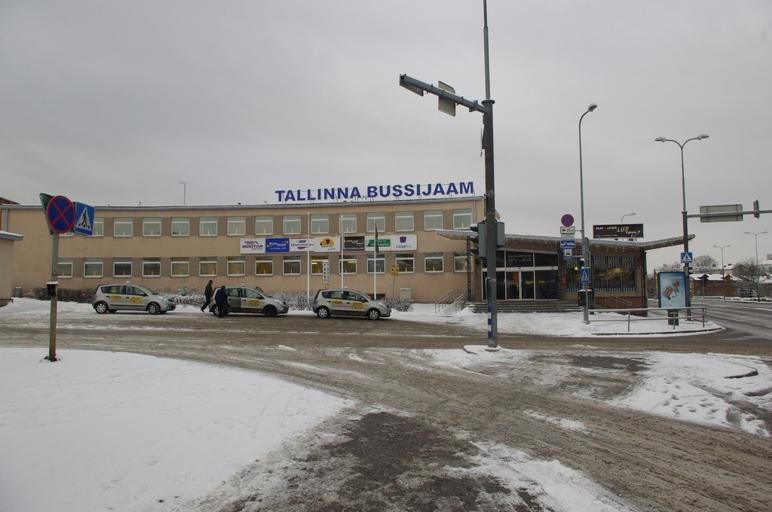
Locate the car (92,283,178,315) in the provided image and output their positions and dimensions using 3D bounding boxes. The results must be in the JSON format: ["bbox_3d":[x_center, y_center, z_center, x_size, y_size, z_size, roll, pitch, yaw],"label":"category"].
[{"bbox_3d":[-12.381,2.071,30.697,2.827,1.428,1.691,-1,-3,-12],"label":"car"}]

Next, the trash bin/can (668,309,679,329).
[{"bbox_3d":[12.634,2.686,27.599,0.363,0.640,0.995,7,13,15],"label":"trash bin/can"}]

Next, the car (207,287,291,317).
[{"bbox_3d":[-6.536,2.252,30.865,2.860,1.449,1.731,-2,-3,-4],"label":"car"}]

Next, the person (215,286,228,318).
[{"bbox_3d":[-7.826,2.166,29.973,0.567,1.291,1.155,-1,13,-15],"label":"person"}]
